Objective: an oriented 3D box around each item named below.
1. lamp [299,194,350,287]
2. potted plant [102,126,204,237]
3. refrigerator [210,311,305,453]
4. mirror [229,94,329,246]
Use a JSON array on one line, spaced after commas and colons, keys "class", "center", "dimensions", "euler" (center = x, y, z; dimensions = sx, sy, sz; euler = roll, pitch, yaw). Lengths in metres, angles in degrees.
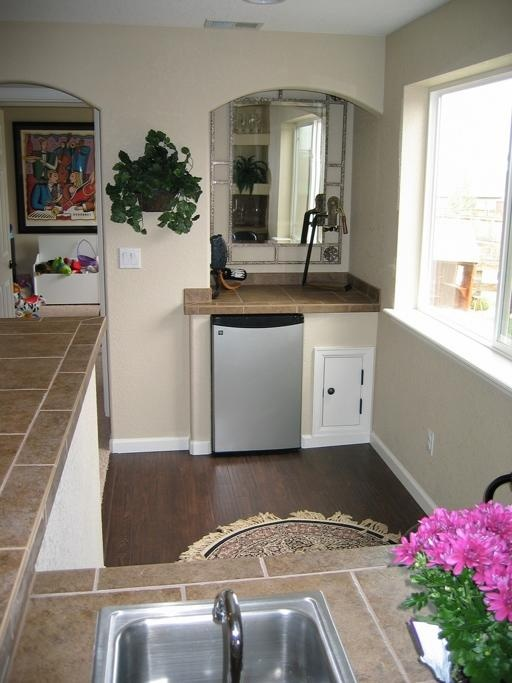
[{"class": "lamp", "center": [0.468, -0.815, 4.105], "dimensions": [0.428, 0.640, 0.372], "euler": [-9, 24, -19]}, {"class": "potted plant", "center": [-0.630, -0.975, 3.272], "dimensions": [0.584, 0.606, 0.279], "euler": [0, 8, -8]}, {"class": "refrigerator", "center": [0.020, 0.229, 3.835], "dimensions": [0.831, 1.243, 0.844], "euler": [-1, 9, -6]}, {"class": "mirror", "center": [0.183, -1.249, 3.945], "dimensions": [0.866, 1.183, 0.063], "euler": [0, 1, -10]}]
